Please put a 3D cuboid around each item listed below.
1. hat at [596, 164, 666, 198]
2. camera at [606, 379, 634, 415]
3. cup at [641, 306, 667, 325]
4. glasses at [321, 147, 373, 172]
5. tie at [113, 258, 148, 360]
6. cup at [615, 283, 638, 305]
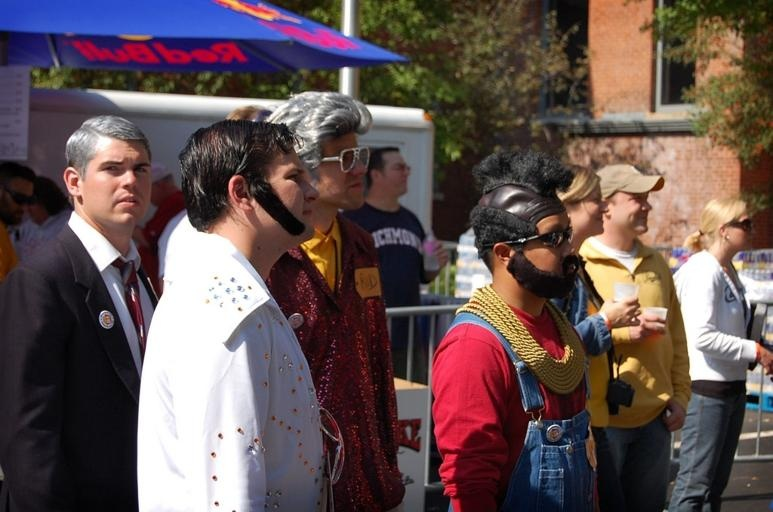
[{"bbox_3d":[1.881,-0.589,9.067,0.443,0.159,0.285,-3,4,28],"label":"hat"},{"bbox_3d":[1.720,1.034,8.594,0.235,0.233,0.146,1,-3,25],"label":"camera"},{"bbox_3d":[1.993,0.427,8.645,0.124,0.090,0.123,1,-3,0],"label":"cup"},{"bbox_3d":[-0.242,-0.643,7.670,0.211,0.080,0.205,-4,1,38],"label":"glasses"},{"bbox_3d":[-1.682,0.363,7.589,0.081,0.658,0.099,-18,-14,20],"label":"tie"},{"bbox_3d":[1.745,0.258,8.519,0.161,0.126,0.159,-2,3,0],"label":"cup"}]
